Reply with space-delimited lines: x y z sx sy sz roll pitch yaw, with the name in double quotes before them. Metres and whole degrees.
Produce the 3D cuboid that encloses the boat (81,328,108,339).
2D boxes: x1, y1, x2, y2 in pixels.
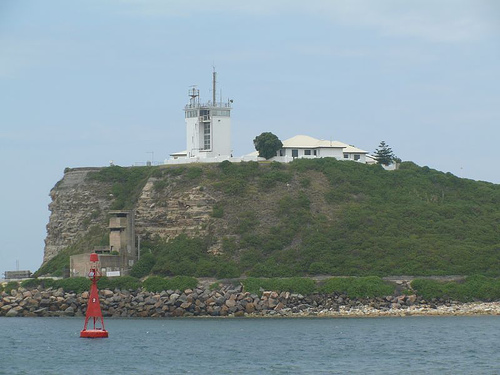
"boat" -19.986 18.270 184.606 3.176 1.383 3.806 0 -5 -9
